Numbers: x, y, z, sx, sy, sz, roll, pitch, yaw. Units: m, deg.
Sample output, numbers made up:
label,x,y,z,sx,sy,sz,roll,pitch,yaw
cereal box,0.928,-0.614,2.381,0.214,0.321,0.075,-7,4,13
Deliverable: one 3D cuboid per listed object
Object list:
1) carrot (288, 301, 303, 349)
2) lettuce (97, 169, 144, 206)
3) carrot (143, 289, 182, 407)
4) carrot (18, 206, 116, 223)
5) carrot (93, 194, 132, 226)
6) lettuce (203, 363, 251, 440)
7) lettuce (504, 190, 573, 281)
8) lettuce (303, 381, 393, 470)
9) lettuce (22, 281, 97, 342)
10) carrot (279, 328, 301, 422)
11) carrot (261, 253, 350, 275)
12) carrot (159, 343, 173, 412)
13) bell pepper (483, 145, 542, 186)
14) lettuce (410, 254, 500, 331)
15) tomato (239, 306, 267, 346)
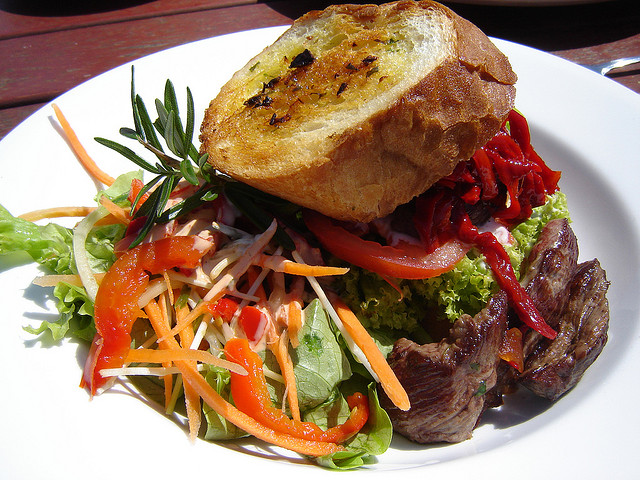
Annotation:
label,x,y,z,sx,sy,sz,roll,pitch,yaw
carrot,-0.096,0.354,2.488,0.046,0.042,0.160,-1,71,-4
lettuce,-0.982,-0.274,3.003,0.140,0.188,0.191,7,21,34
carrot,-0.636,0.439,2.510,0.146,0.079,0.516,-13,73,-6
carrot,-1.170,-0.115,2.776,0.408,0.052,0.039,-3,45,-30
carrot,-0.938,-0.120,2.737,0.177,0.056,0.130,-16,-12,35
lettuce,-0.388,0.660,2.424,0.066,0.290,0.242,-45,33,13
lettuce,1.020,-0.042,2.833,0.557,0.180,0.134,-34,35,-30
lettuce,0.109,0.776,2.482,0.278,0.211,0.360,-16,28,-42
lettuce,-1.040,0.299,2.522,0.263,0.269,0.219,-5,20,-2
carrot,-0.126,0.561,2.467,0.069,0.056,0.390,-2,74,-8
carrot,-0.075,0.105,2.586,0.314,0.048,0.062,5,20,19
carrot,-0.632,0.554,2.479,0.052,0.302,0.041,1,9,-23
bell pepper,0.828,-0.335,2.696,0.240,0.069,0.214,14,63,32
lettuce,0.612,0.222,2.774,0.361,0.255,0.341,-36,-2,-9
tomato,-0.280,0.355,2.532,0.119,0.150,0.041,-15,2,23
